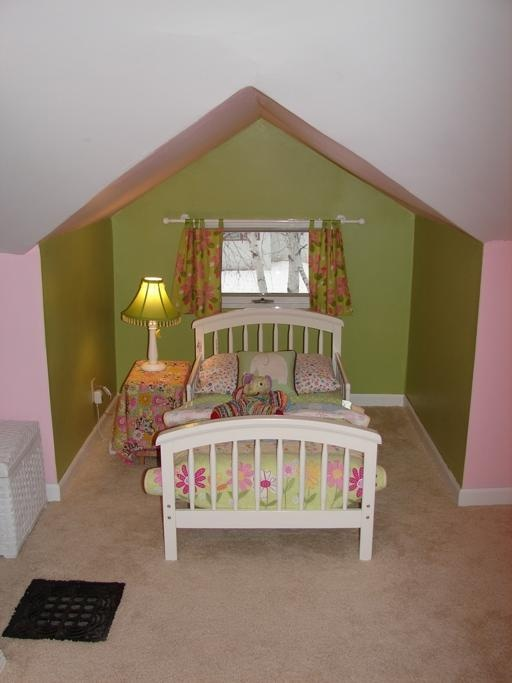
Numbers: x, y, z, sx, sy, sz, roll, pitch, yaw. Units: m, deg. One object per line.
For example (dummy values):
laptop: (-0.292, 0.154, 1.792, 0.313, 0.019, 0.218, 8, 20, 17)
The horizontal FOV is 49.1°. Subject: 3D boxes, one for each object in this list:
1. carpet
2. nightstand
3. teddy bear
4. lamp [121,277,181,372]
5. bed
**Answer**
carpet: (-0.781, 1.092, 2.308, 0.427, 0.022, 0.360, 0, 12, 2)
nightstand: (-0.632, 0.425, 3.759, 0.484, 0.475, 0.686, 2, 33, -4)
teddy bear: (-0.004, 0.322, 3.211, 0.362, 0.255, 0.507, 4, 7, 2)
lamp: (-0.710, -0.120, 3.810, 0.407, 0.604, 0.412, 6, 10, 22)
bed: (0.083, 0.483, 3.332, 1.010, 0.845, 1.638, 0, 17, 3)
